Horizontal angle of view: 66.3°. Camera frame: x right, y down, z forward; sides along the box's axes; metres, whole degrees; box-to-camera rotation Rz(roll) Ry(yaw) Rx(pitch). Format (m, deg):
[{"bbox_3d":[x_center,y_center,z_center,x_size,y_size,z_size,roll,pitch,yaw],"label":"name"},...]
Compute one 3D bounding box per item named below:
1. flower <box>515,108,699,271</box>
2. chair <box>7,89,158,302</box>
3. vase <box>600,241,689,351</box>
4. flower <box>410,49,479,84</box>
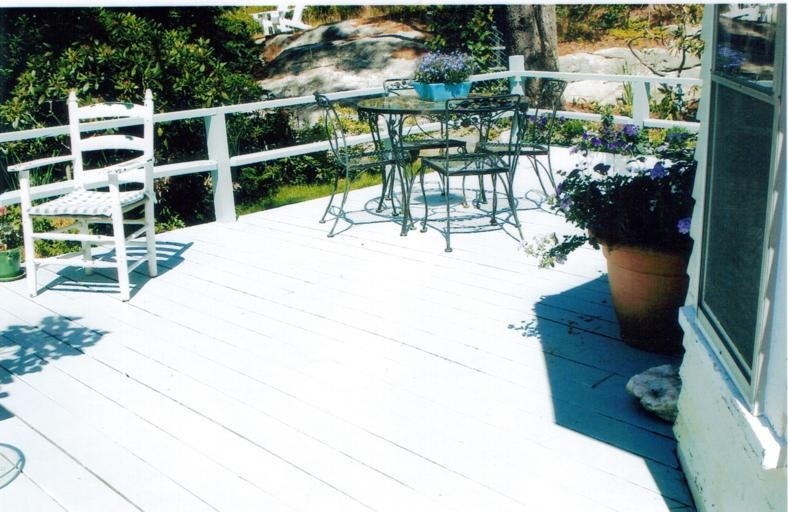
[{"bbox_3d":[1.315,-0.349,3.578,0.782,0.445,1.049,-21,4,-9],"label":"flower"},{"bbox_3d":[-2.176,-0.439,4.298,0.926,1.320,0.873,7,17,21],"label":"chair"},{"bbox_3d":[1.454,0.227,3.480,0.466,0.444,0.442,18,2,-36],"label":"vase"},{"bbox_3d":[0.444,-1.682,5.343,0.539,0.272,0.328,-4,16,4],"label":"flower"}]
